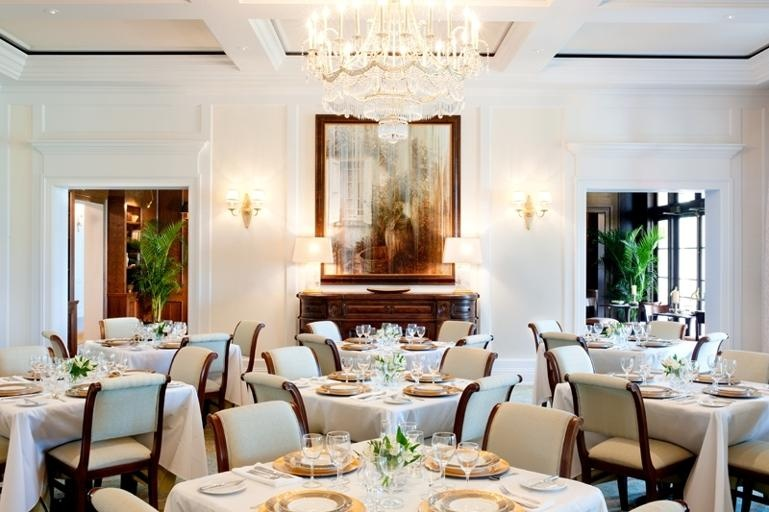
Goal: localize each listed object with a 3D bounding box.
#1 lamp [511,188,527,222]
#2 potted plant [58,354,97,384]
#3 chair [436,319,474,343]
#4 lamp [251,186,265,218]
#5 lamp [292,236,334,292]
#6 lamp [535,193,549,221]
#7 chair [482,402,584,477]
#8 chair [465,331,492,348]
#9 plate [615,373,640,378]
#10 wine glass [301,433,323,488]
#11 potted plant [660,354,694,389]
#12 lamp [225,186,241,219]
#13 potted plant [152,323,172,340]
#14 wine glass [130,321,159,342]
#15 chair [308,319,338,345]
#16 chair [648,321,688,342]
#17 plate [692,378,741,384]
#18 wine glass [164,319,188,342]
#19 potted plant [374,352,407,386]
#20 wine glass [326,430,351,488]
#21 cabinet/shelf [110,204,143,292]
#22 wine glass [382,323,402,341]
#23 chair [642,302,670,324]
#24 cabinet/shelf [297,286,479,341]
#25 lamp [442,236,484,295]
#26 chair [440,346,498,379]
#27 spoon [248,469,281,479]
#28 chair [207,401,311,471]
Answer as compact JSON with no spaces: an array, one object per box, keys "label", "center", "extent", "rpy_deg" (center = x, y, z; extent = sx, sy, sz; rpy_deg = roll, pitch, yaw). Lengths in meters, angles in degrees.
[{"label":"lamp","center":[2.155,-0.812,9.074],"extent":[0.270,0.534,0.195],"rpy_deg":[-1,2,5]},{"label":"potted plant","center":[-2.780,1.001,5.160],"extent":[0.238,0.241,0.240],"rpy_deg":[8,-3,-17]},{"label":"chair","center":[0.915,0.981,7.426],"extent":[0.302,0.377,0.325],"rpy_deg":[0,-7,35]},{"label":"lamp","center":[-1.992,-0.861,8.968],"extent":[0.186,0.442,0.245],"rpy_deg":[-1,1,-10]},{"label":"lamp","center":[-1.139,0.095,8.846],"extent":[0.613,0.844,0.526],"rpy_deg":[-1,1,-7]},{"label":"lamp","center":[2.520,-0.809,9.033],"extent":[0.236,0.403,0.267],"rpy_deg":[0,1,8]},{"label":"chair","center":[1.051,1.208,4.123],"extent":[0.537,0.809,0.552],"rpy_deg":[0,-13,36]},{"label":"chair","center":[1.125,1.013,6.742],"extent":[0.236,0.197,0.575],"rpy_deg":[0,0,20]},{"label":"plate","center":[2.290,1.139,5.395],"extent":[0.152,0.041,0.170],"rpy_deg":[0,-3,14]},{"label":"wine glass","center":[-0.446,1.245,3.544],"extent":[0.127,0.333,0.284],"rpy_deg":[-1,1,-9]},{"label":"potted plant","center":[2.625,1.038,5.117],"extent":[0.175,0.207,0.196],"rpy_deg":[-8,-4,0]},{"label":"lamp","center":[-2.382,-0.862,8.993],"extent":[0.256,0.447,0.272],"rpy_deg":[-1,1,-16]},{"label":"potted plant","center":[-2.800,0.921,7.131],"extent":[0.203,0.225,0.201],"rpy_deg":[-1,3,-38]},{"label":"wine glass","center":[-3.004,0.961,7.239],"extent":[0.294,0.224,0.285],"rpy_deg":[0,-1,9]},{"label":"chair","center":[-0.797,0.990,7.496],"extent":[0.291,0.376,0.298],"rpy_deg":[-7,-7,42]},{"label":"chair","center":[3.775,0.988,7.645],"extent":[0.339,0.454,0.375],"rpy_deg":[-6,-13,39]},{"label":"plate","center":[3.072,1.166,5.319],"extent":[0.166,0.023,0.165],"rpy_deg":[2,-6,-39]},{"label":"wine glass","center":[-2.693,0.944,7.312],"extent":[0.302,0.324,0.290],"rpy_deg":[-1,-2,20]},{"label":"potted plant","center":[0.035,1.012,5.245],"extent":[0.274,0.309,0.271],"rpy_deg":[0,1,-38]},{"label":"wine glass","center":[-0.266,1.236,3.451],"extent":[0.116,0.240,0.122],"rpy_deg":[-12,-7,2]},{"label":"cabinet/shelf","center":[-5.793,-0.295,12.805],"extent":[0.519,2.244,0.841],"rpy_deg":[0,2,9]},{"label":"wine glass","center":[0.031,0.915,6.878],"extent":[0.201,0.246,0.219],"rpy_deg":[1,2,29]},{"label":"chair","center":[5.162,1.082,10.911],"extent":[0.316,0.423,0.283],"rpy_deg":[3,5,28]},{"label":"cabinet/shelf","center":[0.062,1.226,8.910],"extent":[2.708,1.443,0.840],"rpy_deg":[0,7,-3]},{"label":"lamp","center":[1.228,0.110,8.900],"extent":[0.593,0.879,0.538],"rpy_deg":[0,1,10]},{"label":"chair","center":[0.888,1.147,5.830],"extent":[0.357,0.542,0.384],"rpy_deg":[-1,-14,36]},{"label":"spoon","center":[-0.760,1.378,3.604],"extent":[0.216,0.019,0.064],"rpy_deg":[5,19,21]},{"label":"chair","center":[-0.894,1.192,4.123],"extent":[0.454,0.794,0.535],"rpy_deg":[2,-8,-37]}]
